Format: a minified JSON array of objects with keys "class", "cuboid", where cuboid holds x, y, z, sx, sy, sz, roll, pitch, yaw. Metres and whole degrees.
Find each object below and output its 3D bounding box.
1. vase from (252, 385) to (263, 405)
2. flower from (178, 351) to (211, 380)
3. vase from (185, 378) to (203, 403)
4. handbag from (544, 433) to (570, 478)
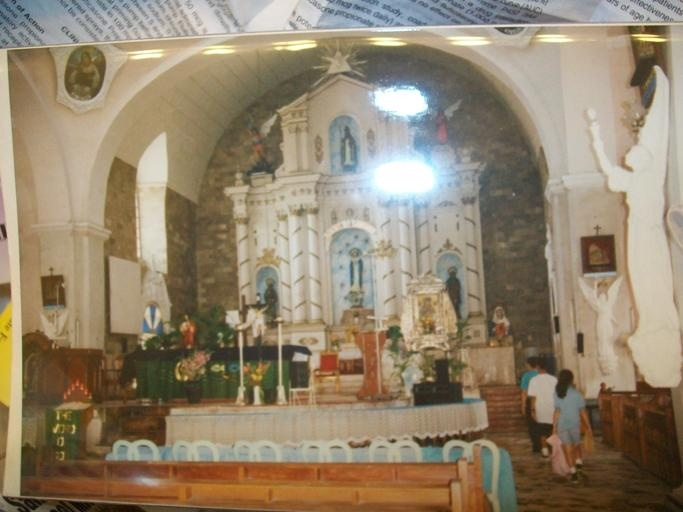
[{"class":"vase","cuboid":[-1.154,1.937,10.945,0.135,0.286,0.128,-2,-9,-7]},{"class":"flower","cuboid":[-2.098,1.571,11.248,0.357,0.241,0.391,3,26,21]},{"class":"vase","cuboid":[-2.086,1.902,11.098,0.261,0.313,0.263,8,-25,-19]},{"class":"handbag","cuboid":[2.750,2.478,10.031,0.177,0.452,0.098,2,31,25]}]
